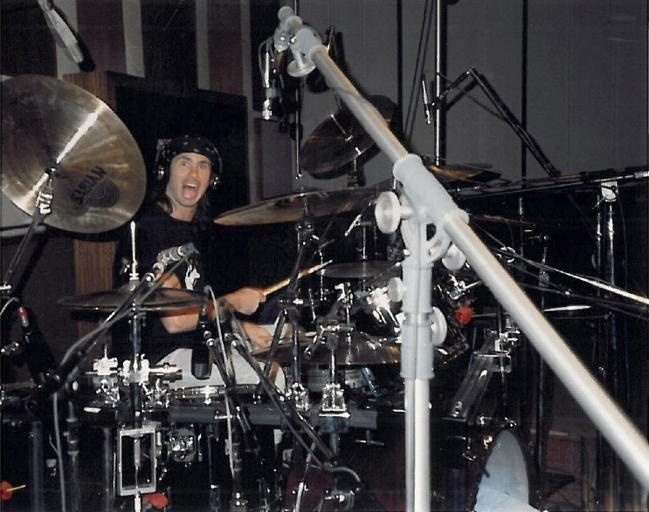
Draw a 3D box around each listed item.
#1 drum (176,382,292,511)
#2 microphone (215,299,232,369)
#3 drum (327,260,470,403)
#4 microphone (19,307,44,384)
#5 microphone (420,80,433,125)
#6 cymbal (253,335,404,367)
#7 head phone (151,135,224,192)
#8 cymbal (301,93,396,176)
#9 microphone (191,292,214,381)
[{"bbox_3d":[-0.330,0.663,3.603,0.364,0.413,0.207,1,-15,-3],"label":"drum"},{"bbox_3d":[-0.348,0.260,3.636,0.069,0.274,0.185,2,-16,-6],"label":"microphone"},{"bbox_3d":[0.279,0.251,3.681,0.565,0.473,0.452,2,-16,-6],"label":"drum"},{"bbox_3d":[-0.985,0.291,3.547,0.060,0.322,0.052,-9,2,-28],"label":"microphone"},{"bbox_3d":[0.371,-0.549,3.786,0.032,0.178,0.041,-3,-5,-3],"label":"microphone"},{"bbox_3d":[0.010,0.327,3.624,0.487,0.118,0.228,3,-17,-10],"label":"cymbal"},{"bbox_3d":[-0.514,-0.309,3.787,0.183,0.171,0.184,3,-10,-23],"label":"head phone"},{"bbox_3d":[0.074,-0.415,3.677,0.290,0.296,0.067,-34,-56,20],"label":"cymbal"},{"bbox_3d":[-0.407,0.304,3.616,0.071,0.249,0.172,1,-3,6],"label":"microphone"}]
